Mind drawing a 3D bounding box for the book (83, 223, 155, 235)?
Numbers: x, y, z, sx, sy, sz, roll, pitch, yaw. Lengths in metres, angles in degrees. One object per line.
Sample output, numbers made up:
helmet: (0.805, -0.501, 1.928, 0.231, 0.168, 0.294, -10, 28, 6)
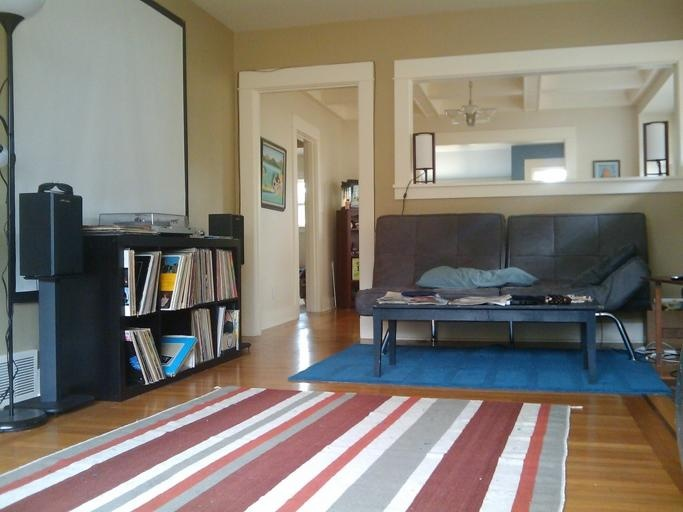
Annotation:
book: (-1.305, -0.157, 3.188, 0.409, 0.055, 0.246, -2, 2, -25)

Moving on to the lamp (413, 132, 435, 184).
lamp: (0.776, -0.916, 5.121, 0.202, 0.502, 0.597, -1, 2, 8)

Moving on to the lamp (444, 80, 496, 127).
lamp: (1.812, -2.064, 7.544, 0.624, 0.655, 1.543, -1, 2, 14)

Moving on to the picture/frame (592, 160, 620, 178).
picture/frame: (4.089, -1.354, 8.284, 0.406, 0.282, 0.405, 0, 2, 24)

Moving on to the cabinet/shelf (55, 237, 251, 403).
cabinet/shelf: (-1.195, 0.404, 3.299, 0.295, 0.657, 1.012, 0, 0, 20)

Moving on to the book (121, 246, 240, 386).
book: (-1.076, 0.400, 3.493, 0.149, 0.499, 0.871, 0, 5, 14)

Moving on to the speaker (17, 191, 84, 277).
speaker: (-1.519, -0.105, 2.813, 0.300, 0.446, 0.123, -3, 2, -30)
